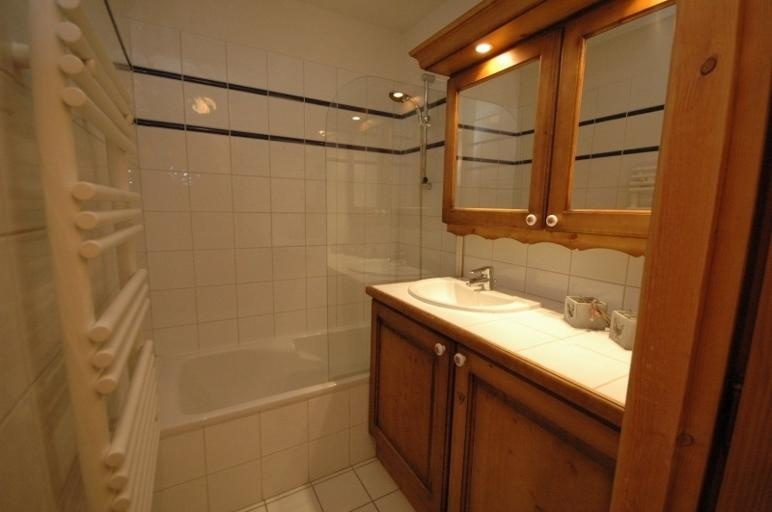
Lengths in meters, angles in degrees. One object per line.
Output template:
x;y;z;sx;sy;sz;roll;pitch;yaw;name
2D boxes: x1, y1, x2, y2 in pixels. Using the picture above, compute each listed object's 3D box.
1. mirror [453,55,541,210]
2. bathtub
0.446;-0.498;2.070;0.032;0.677;0.579;-2;4;-29;mirror
-0.586;0.548;2.554;0.945;0.427;0.781;-1;4;-25;bathtub
